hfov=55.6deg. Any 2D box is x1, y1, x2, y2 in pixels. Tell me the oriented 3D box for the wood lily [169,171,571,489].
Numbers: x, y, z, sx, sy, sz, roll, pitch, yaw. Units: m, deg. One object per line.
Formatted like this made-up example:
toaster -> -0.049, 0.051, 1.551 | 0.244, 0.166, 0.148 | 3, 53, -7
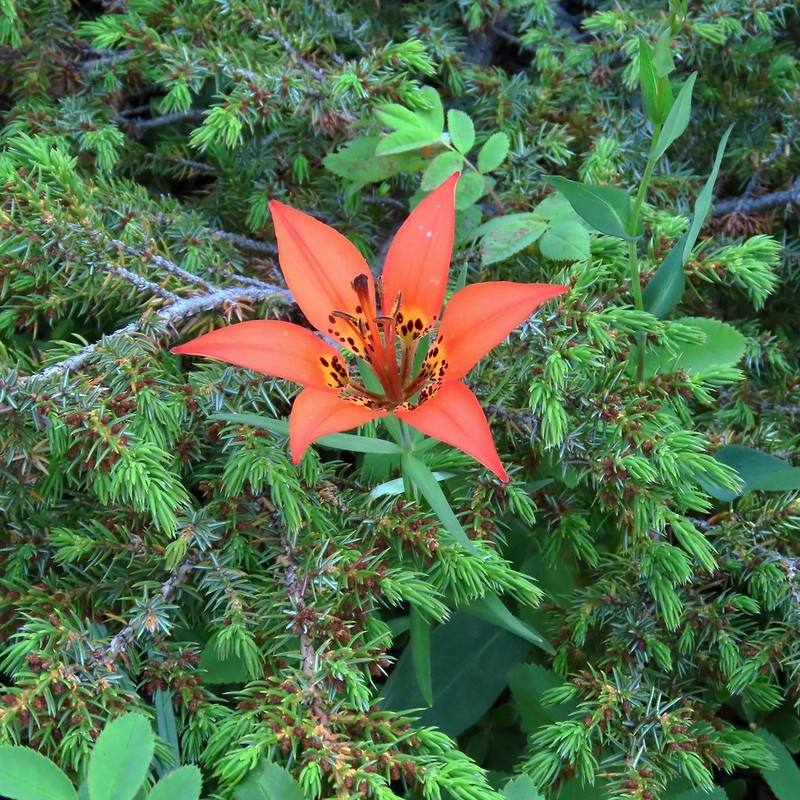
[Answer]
wood lily -> -0.048, -0.126, 1.201 | 0.662, 0.240, 0.561 | 6, 70, 7
